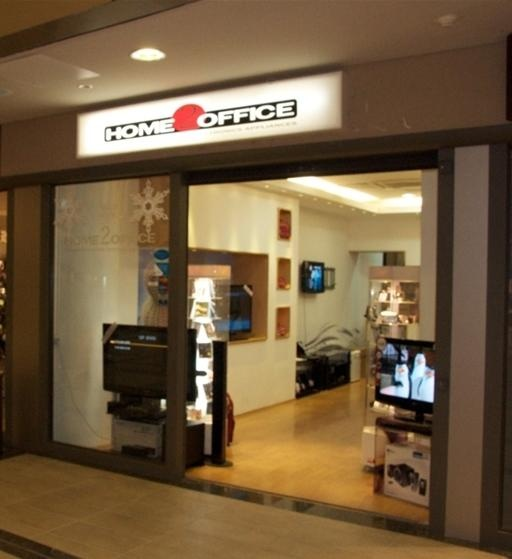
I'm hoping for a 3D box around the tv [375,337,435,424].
[{"bbox_3d":[1.064,0.691,3.644,0.152,0.528,0.493,5,-4,-42],"label":"tv"}]

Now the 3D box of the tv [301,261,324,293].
[{"bbox_3d":[0.782,-0.059,7.434,0.392,0.493,0.063,-3,6,-39],"label":"tv"}]

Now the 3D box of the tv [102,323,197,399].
[{"bbox_3d":[-0.923,0.674,4.319,0.735,0.567,0.072,3,0,16],"label":"tv"}]

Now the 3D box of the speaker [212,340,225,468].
[{"bbox_3d":[-0.379,1.132,4.732,0.117,1.219,0.149,-2,13,-16],"label":"speaker"}]

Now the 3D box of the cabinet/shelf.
[{"bbox_3d":[1.034,0.312,3.967,0.331,0.945,0.235,1,18,12],"label":"cabinet/shelf"}]

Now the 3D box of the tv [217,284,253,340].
[{"bbox_3d":[-0.277,0.377,6.312,0.506,0.587,0.177,-2,-1,24],"label":"tv"}]
